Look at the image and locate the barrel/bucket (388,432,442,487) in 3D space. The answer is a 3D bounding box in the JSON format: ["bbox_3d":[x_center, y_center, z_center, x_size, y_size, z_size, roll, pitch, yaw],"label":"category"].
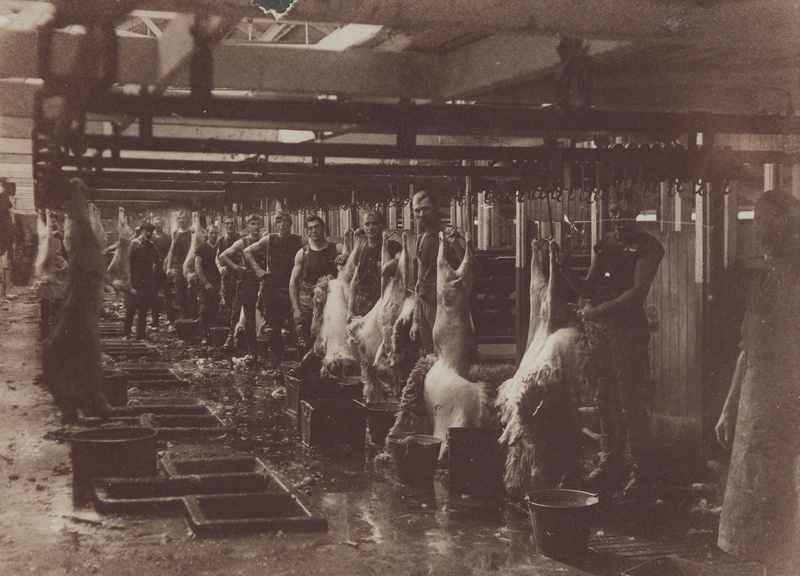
[{"bbox_3d":[0.144,1.719,9.461,0.418,0.378,0.446,1,-8,0],"label":"barrel/bucket"}]

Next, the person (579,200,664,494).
[{"bbox_3d":[2.010,0.516,8.673,0.664,2.647,0.539,2,8,17],"label":"person"}]

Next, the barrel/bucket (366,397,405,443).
[{"bbox_3d":[-0.203,1.550,10.792,0.369,0.465,0.526,-1,8,-1],"label":"barrel/bucket"}]

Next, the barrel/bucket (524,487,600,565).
[{"bbox_3d":[1.345,1.960,7.921,0.504,0.414,0.506,0,-5,0],"label":"barrel/bucket"}]
